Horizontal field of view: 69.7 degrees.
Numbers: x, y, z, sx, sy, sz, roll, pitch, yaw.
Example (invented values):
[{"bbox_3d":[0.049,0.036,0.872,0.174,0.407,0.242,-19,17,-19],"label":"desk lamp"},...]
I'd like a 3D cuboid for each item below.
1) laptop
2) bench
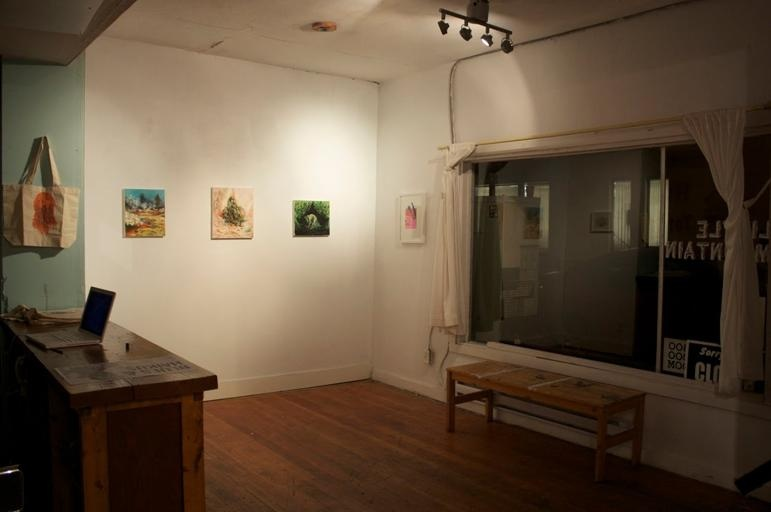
[{"bbox_3d":[-2.341,0.509,4.112,0.495,0.342,0.551,3,4,-42],"label":"laptop"},{"bbox_3d":[1.475,1.461,5.218,1.677,0.718,0.713,7,11,38],"label":"bench"}]
